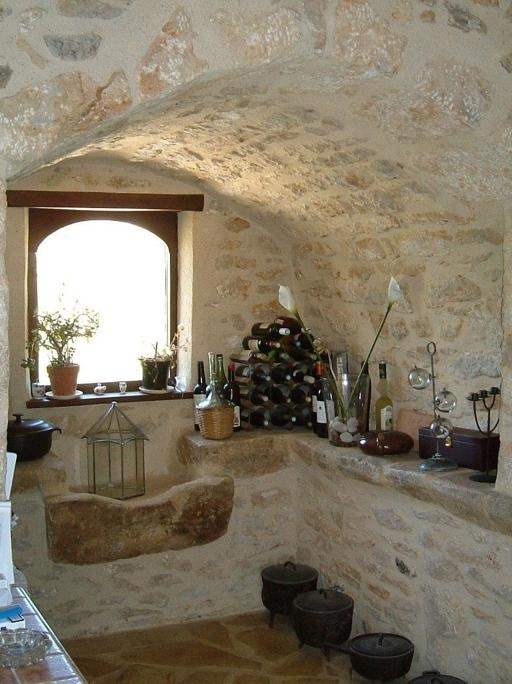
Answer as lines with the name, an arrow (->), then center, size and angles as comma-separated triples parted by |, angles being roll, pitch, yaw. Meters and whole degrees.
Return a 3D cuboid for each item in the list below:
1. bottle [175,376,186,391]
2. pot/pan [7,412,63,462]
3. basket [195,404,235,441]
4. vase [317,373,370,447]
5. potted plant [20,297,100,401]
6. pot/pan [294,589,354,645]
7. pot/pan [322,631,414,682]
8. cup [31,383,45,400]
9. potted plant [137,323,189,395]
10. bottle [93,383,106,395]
bottle -> -0.470, 0.262, 3.379 | 0.082, 0.095, 0.089 | 2, 3, -12
pot/pan -> -1.116, 0.475, 2.647 | 0.252, 0.245, 0.187 | 2, -2, -42
basket -> -0.215, 0.446, 3.080 | 0.214, 0.186, 0.206 | 0, 1, -23
vase -> 0.489, 0.369, 2.859 | 0.301, 0.347, 0.249 | -1, -10, 2
potted plant -> -1.100, 0.047, 3.087 | 0.391, 0.538, 0.275 | 2, -1, -24
pot/pan -> 0.323, 1.249, 2.500 | 0.329, 0.203, 0.259 | -1, -4, 18
pot/pan -> 0.489, 1.276, 2.213 | 0.229, 0.155, 0.284 | 2, -1, -25
cup -> -1.203, 0.274, 2.983 | 0.070, 0.085, 0.077 | 1, -1, 0
potted plant -> -0.574, 0.104, 3.326 | 0.283, 0.414, 0.259 | 2, -1, -16
bottle -> -0.924, 0.271, 3.186 | 0.055, 0.050, 0.068 | -1, -10, 1
